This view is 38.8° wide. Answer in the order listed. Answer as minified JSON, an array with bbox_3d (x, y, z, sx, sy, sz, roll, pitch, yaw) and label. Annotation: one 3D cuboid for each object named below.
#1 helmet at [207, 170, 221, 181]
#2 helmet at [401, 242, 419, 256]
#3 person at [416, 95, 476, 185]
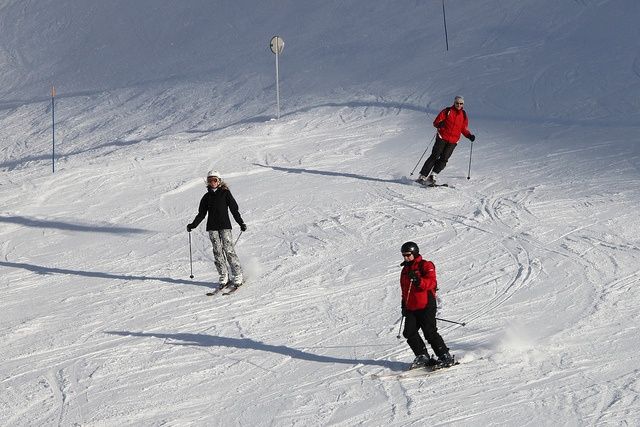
[{"bbox_3d":[-2.872,-1.061,24.683,0.314,0.305,0.488,-4,34,3],"label":"helmet"},{"bbox_3d":[2.180,0.848,22.058,0.414,0.331,0.289,-7,35,-2],"label":"helmet"},{"bbox_3d":[3.926,-2.243,28.579,1.253,3.021,1.554,16,42,29],"label":"person"}]
